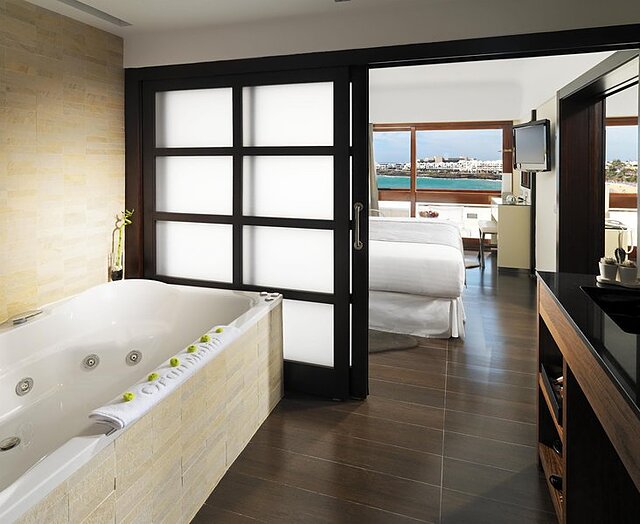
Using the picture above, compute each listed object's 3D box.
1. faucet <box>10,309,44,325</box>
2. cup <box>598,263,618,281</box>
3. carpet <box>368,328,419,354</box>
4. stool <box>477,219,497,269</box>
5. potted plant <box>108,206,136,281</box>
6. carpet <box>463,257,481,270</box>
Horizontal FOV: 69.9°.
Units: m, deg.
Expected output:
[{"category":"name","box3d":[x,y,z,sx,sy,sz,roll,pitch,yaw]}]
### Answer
[{"category":"faucet","box3d":[-1.795,0.339,2.799,0.058,0.032,0.122,7,10,15]},{"category":"cup","box3d":[1.514,0.056,2.408,0.079,0.077,0.094,-1,-4,17]},{"category":"carpet","box3d":[0.673,0.724,4.122,0.450,0.021,0.502,1,15,5]},{"category":"stool","box3d":[2.738,-0.285,7.503,0.204,0.400,0.762,0,6,13]},{"category":"potted plant","box3d":[-1.558,-0.124,3.553,0.184,0.520,0.381,-2,13,-7]},{"category":"carpet","box3d":[2.391,0.029,7.226,0.325,0.093,0.358,4,24,12]}]
